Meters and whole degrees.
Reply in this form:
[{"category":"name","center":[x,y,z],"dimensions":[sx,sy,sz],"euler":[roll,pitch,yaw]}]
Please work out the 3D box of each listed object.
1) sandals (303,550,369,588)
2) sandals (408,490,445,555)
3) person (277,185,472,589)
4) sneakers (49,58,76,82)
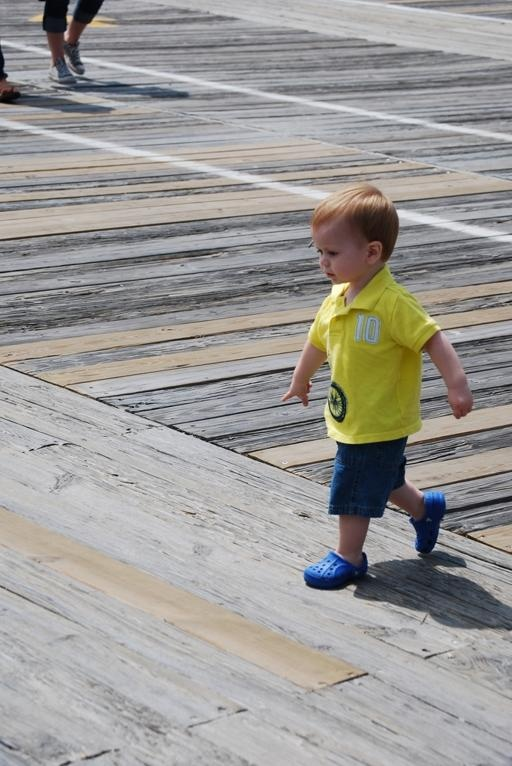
[{"category":"sandals","center":[0.141,0.334,1.446],"dimensions":[0.123,0.041,0.051],"euler":[-3,16,-31]},{"category":"sandals","center":[0.332,0.283,1.603],"dimensions":[0.066,0.119,0.052],"euler":[4,13,-12]},{"category":"person","center":[0.227,0.012,1.464],"dimensions":[0.291,0.647,0.483],"euler":[0,34,-5]},{"category":"sneakers","center":[-1.750,-2.770,7.122],"dimensions":[0.148,0.148,0.349],"euler":[-8,27,-21]}]
